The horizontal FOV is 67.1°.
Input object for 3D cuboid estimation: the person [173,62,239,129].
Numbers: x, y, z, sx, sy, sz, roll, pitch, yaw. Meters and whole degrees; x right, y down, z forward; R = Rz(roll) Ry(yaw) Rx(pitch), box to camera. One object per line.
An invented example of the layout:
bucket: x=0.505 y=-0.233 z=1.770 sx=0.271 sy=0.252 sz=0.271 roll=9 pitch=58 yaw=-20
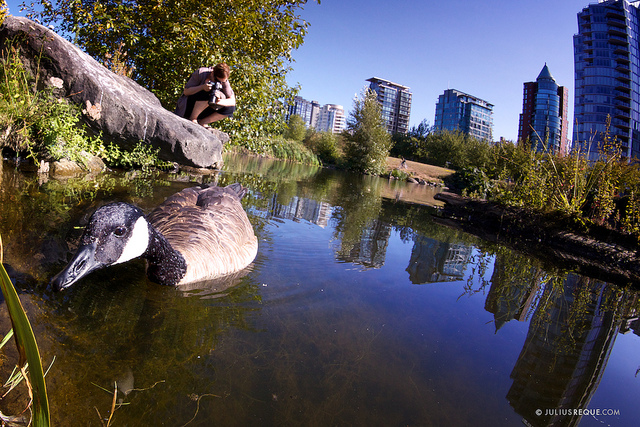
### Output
person: x=-2.411 y=-2.534 z=10.451 sx=0.940 sy=1.297 sz=1.673 roll=4 pitch=9 yaw=-45

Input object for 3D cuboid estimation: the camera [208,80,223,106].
camera: x=-2.198 y=-2.471 z=9.909 sx=0.270 sy=0.492 sz=0.361 roll=8 pitch=6 yaw=-11
